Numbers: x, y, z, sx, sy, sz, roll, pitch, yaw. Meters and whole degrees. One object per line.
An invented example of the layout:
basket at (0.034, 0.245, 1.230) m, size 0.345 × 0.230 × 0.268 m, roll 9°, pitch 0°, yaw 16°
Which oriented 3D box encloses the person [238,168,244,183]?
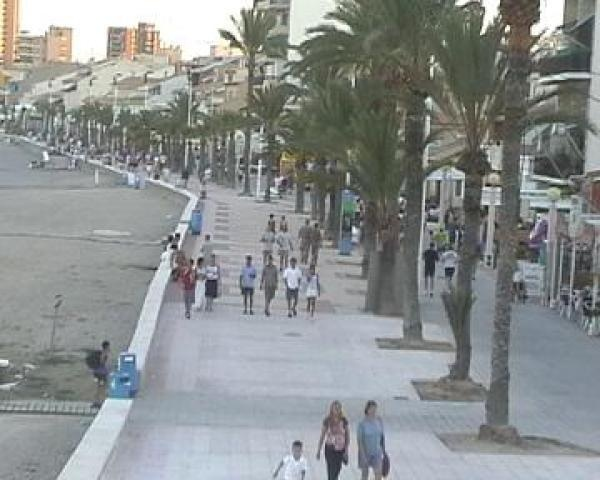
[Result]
person at (-5.838, -6.149, 92.909) m, size 0.840 × 1.338 × 2.082 m, roll -1°, pitch -4°, yaw -3°

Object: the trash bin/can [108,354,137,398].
trash bin/can at (-3.536, 2.741, 18.982) m, size 0.611 × 0.875 × 0.452 m, roll 0°, pitch 1°, yaw -24°

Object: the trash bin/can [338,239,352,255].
trash bin/can at (1.927, 0.321, 40.778) m, size 0.511 × 0.709 × 0.561 m, roll 1°, pitch 1°, yaw 2°

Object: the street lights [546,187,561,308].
street lights at (7.929, 0.180, 29.639) m, size 0.471 × 3.630 × 0.500 m, roll 0°, pitch 1°, yaw -2°

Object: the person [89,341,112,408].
person at (-4.869, 3.109, 22.955) m, size 0.437 × 1.458 × 3.036 m, roll 1°, pitch 1°, yaw -11°
